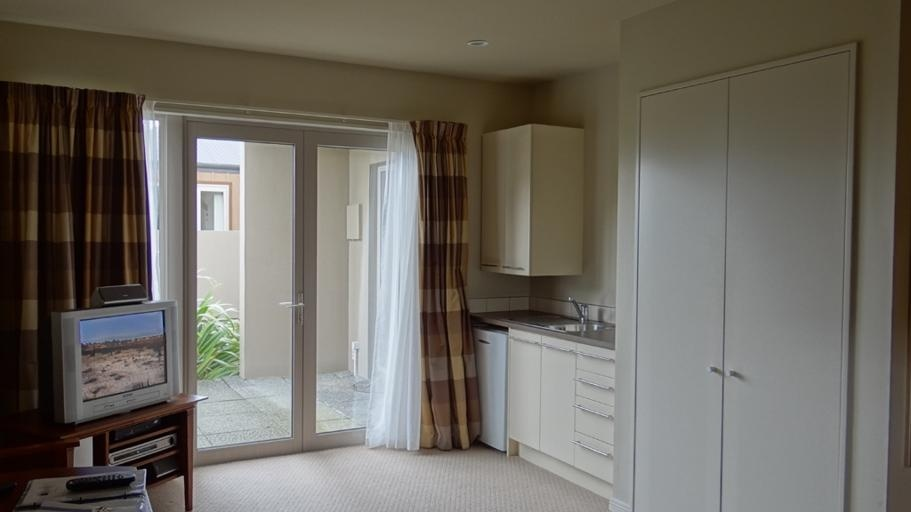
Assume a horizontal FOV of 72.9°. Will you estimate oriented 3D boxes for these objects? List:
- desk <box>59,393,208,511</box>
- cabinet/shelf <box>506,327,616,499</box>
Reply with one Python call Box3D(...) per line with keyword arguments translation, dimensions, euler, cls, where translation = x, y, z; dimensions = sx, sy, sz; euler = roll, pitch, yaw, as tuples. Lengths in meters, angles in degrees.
Box3D(translation=(-2.409, 1.439, 4.592), dimensions=(1.069, 0.886, 0.440), euler=(-3, 7, -42), cls="desk")
Box3D(translation=(1.141, 1.411, 5.758), dimensions=(0.619, 1.246, 1.513), euler=(2, 0, -32), cls="cabinet/shelf")
